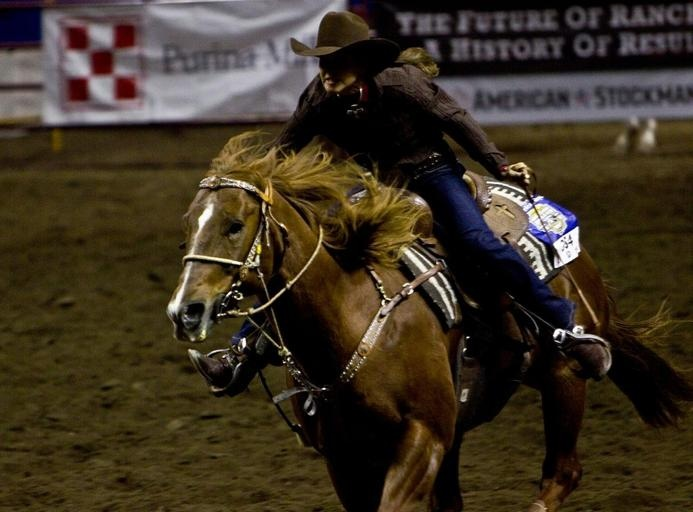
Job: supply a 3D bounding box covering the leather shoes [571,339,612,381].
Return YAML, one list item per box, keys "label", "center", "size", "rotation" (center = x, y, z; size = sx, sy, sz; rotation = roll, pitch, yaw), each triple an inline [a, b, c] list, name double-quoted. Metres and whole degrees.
- label: "leather shoes"
  center: [1.475, 0.637, 6.640]
  size: [0.241, 0.233, 0.218]
  rotation: [-21, -16, 21]
